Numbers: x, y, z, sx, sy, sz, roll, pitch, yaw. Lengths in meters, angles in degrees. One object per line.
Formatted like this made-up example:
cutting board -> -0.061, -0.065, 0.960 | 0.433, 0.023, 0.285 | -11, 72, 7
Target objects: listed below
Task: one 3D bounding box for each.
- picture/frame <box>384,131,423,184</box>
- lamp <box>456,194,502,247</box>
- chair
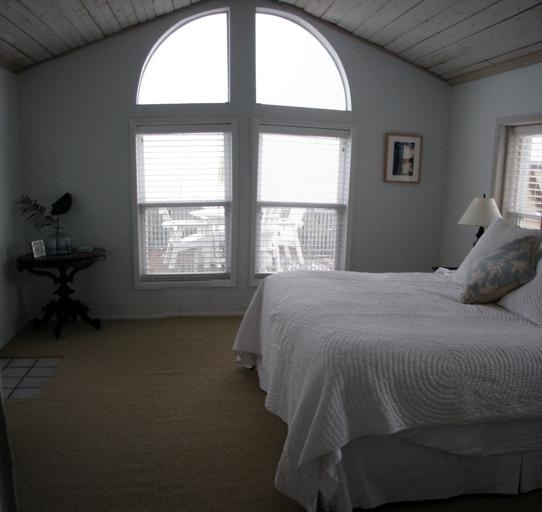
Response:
picture/frame -> 1.278, -0.987, 4.622 | 0.448, 0.582, 0.041 | -1, 5, -20
lamp -> 1.704, -0.286, 3.837 | 0.280, 0.393, 0.308 | -6, 18, 4
chair -> -0.366, -0.194, 4.768 | 1.018, 0.585, 0.668 | -1, 8, -7
